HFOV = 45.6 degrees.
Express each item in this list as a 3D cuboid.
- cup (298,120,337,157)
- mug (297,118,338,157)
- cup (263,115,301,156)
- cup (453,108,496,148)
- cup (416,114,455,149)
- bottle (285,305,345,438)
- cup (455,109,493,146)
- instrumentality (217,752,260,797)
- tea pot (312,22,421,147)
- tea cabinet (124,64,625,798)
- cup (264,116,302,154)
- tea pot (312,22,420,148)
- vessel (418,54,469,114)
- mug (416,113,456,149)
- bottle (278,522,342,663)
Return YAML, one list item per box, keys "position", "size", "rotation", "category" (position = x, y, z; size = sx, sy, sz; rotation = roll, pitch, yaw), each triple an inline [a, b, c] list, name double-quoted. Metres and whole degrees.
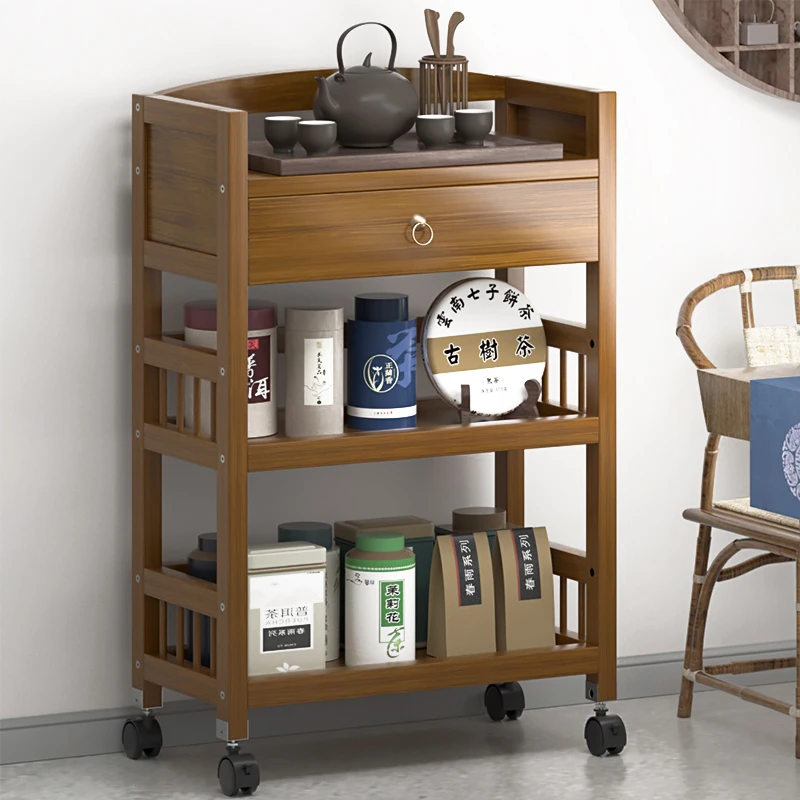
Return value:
- position: [-0.119, -0.374, 1.369]
  size: [0.055, 0.039, 0.058]
  rotation: [0, 9, 0]
  category: "cup"
- position: [-0.122, -0.378, 1.372]
  size: [0.054, 0.041, 0.059]
  rotation: [0, 10, -2]
  category: "mug"
- position: [-0.175, -0.407, 1.464]
  size: [0.055, 0.045, 0.069]
  rotation: [2, 7, 13]
  category: "cup"
- position: [0.123, -0.437, 1.534]
  size: [0.065, 0.050, 0.064]
  rotation: [0, 9, 0]
  category: "cup"
- position: [0.061, -0.417, 1.491]
  size: [0.059, 0.041, 0.061]
  rotation: [-1, 9, 0]
  category: "cup"
- position: [-0.132, -0.043, 1.478]
  size: [0.085, 0.195, 0.037]
  rotation: [0, 1, -14]
  category: "bottle"
- position: [0.118, -0.431, 1.500]
  size: [0.062, 0.045, 0.063]
  rotation: [0, 8, 0]
  category: "cup"
- position: [-0.251, 0.578, 1.461]
  size: [0.061, 0.074, 0.042]
  rotation: [1, 1, 41]
  category: "instrumentality"
- position: [-0.048, -0.481, 1.485]
  size: [0.168, 0.168, 0.096]
  rotation: [0, 1, -9]
  category: "tea pot"
- position: [-0.029, 0.015, 1.620]
  size: [0.798, 1.242, 0.542]
  rotation: [0, 1, -27]
  category: "tea cabinet"
- position: [-0.174, -0.408, 1.462]
  size: [0.052, 0.043, 0.065]
  rotation: [2, 7, 11]
  category: "cup"
- position: [-0.054, -0.504, 1.513]
  size: [0.163, 0.190, 0.190]
  rotation: [16, 29, 33]
  category: "tea pot"
- position: [0.077, -0.528, 1.613]
  size: [0.089, 0.107, 0.087]
  rotation: [10, 26, 24]
  category: "vessel"
- position: [0.056, -0.418, 1.473]
  size: [0.059, 0.041, 0.062]
  rotation: [-1, 9, -2]
  category: "mug"
- position: [-0.177, 0.328, 1.585]
  size: [0.143, 0.235, 0.135]
  rotation: [-3, -15, -1]
  category: "bottle"
